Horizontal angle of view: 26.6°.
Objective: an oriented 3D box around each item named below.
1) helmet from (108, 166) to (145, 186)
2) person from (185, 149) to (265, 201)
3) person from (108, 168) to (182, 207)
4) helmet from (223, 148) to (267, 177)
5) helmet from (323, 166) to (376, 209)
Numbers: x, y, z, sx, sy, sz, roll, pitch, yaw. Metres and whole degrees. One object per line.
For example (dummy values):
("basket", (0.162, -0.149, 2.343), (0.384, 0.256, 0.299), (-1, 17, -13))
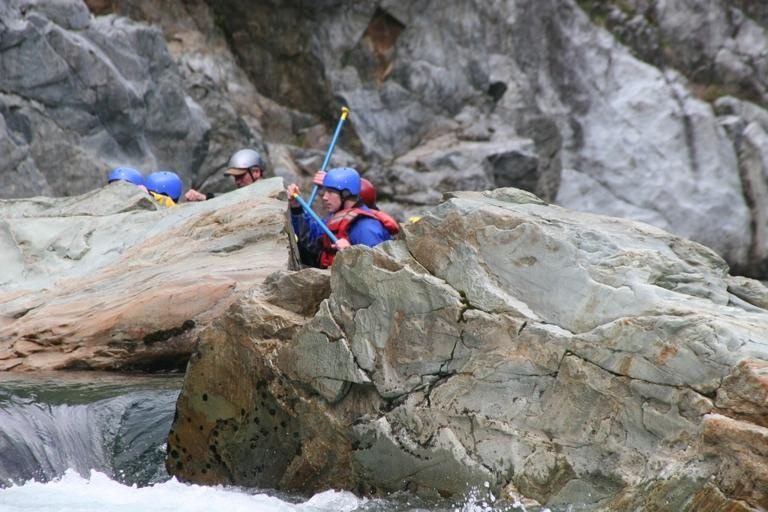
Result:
("helmet", (-3.656, -1.111, 22.711), (0.361, 0.227, 0.489), (4, -12, 33))
("person", (-2.170, -1.025, 22.556), (1.242, 0.431, 0.577), (-36, 26, -18))
("person", (-3.324, -1.001, 22.689), (0.913, 0.341, 0.563), (23, -2, -14))
("helmet", (-1.917, -1.293, 22.513), (0.341, 0.233, 0.490), (2, 8, 45))
("helmet", (-0.443, -0.901, 21.446), (0.670, 0.477, 0.455), (15, 12, -7))
